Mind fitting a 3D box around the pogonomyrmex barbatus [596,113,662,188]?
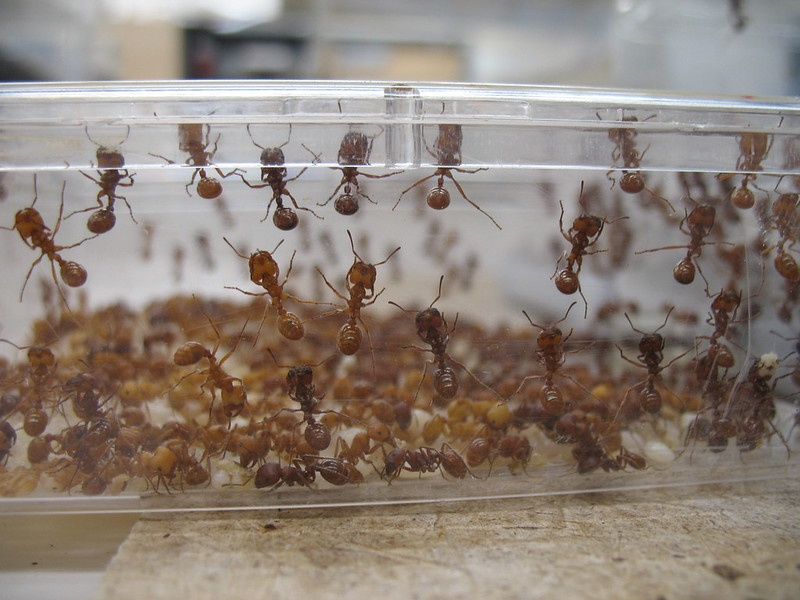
[{"bbox_3d":[1.292,-0.836,5.041,0.281,0.426,0.126,2,16,7],"label":"pogonomyrmex barbatus"}]
